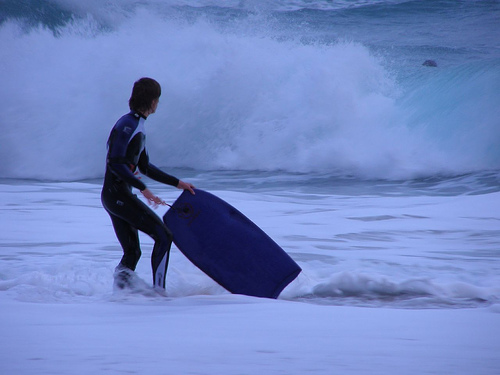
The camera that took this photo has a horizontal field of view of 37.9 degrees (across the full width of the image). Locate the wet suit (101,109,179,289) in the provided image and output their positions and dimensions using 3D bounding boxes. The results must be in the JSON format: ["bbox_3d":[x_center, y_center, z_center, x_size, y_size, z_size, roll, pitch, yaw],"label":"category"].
[{"bbox_3d":[-0.935,0.116,5.991,0.364,1.461,0.530,-14,21,-40],"label":"wet suit"}]

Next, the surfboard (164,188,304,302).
[{"bbox_3d":[-0.296,0.538,6.470,1.463,0.620,0.325,30,-14,-2],"label":"surfboard"}]
